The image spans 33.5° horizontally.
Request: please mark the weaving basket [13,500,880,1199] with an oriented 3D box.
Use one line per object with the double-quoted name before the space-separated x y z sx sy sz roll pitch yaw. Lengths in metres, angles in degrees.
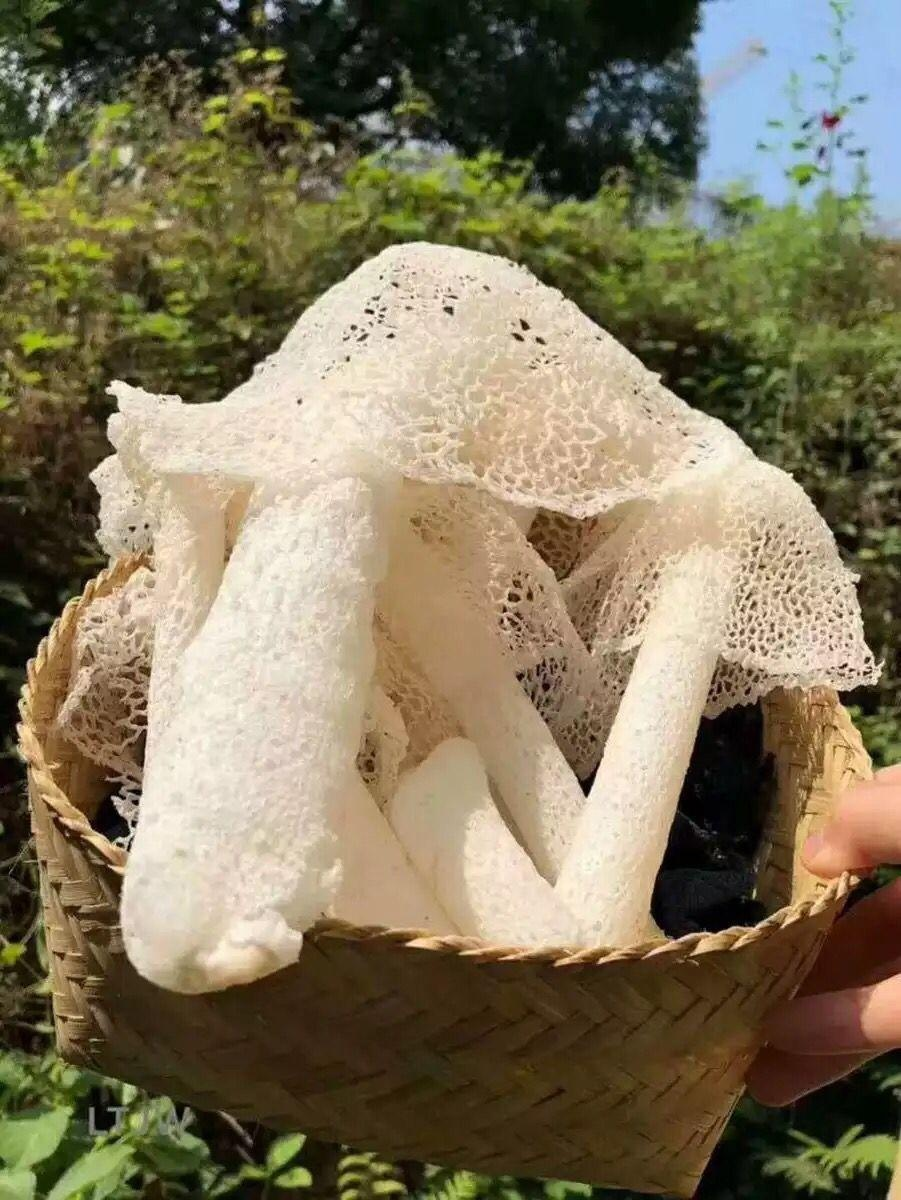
"weaving basket" -0.128 0.202 1.210 0.812 0.219 0.555 7 16 9
